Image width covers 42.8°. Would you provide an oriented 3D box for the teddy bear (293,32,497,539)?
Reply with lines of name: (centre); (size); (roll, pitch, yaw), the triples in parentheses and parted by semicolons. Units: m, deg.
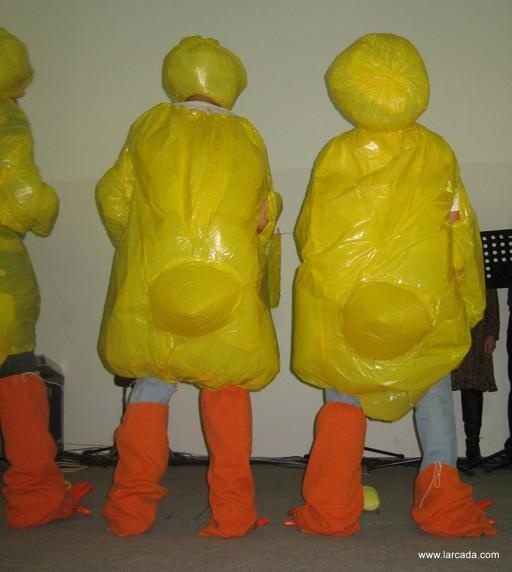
teddy bear: (0.453, 0.003, 2.081); (0.665, 1.579, 0.273); (1, 5, 1)
